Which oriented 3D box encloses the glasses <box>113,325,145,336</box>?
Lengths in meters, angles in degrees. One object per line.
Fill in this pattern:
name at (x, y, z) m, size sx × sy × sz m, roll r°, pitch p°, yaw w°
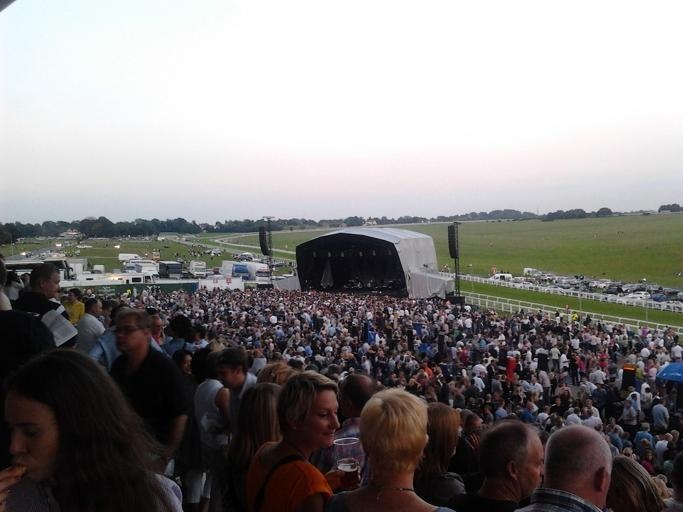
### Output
glasses at (-1.873, 0.683, 4.569) m, size 0.123 × 0.060 × 0.158 m, roll -4°, pitch -12°, yaw 18°
